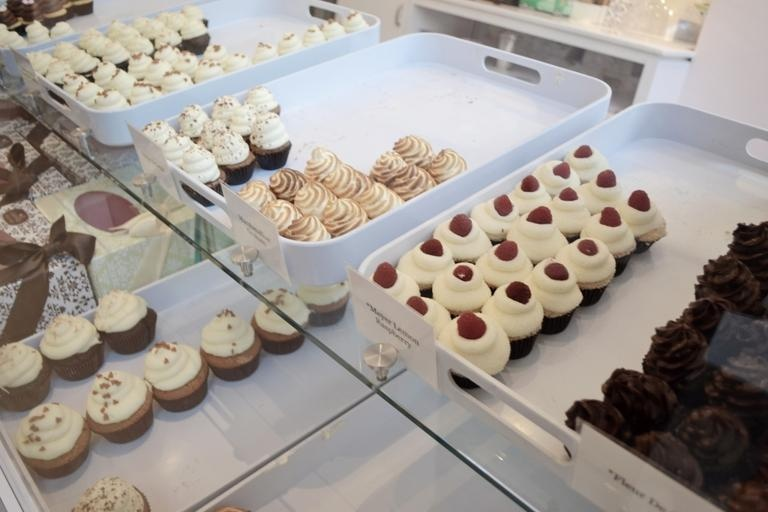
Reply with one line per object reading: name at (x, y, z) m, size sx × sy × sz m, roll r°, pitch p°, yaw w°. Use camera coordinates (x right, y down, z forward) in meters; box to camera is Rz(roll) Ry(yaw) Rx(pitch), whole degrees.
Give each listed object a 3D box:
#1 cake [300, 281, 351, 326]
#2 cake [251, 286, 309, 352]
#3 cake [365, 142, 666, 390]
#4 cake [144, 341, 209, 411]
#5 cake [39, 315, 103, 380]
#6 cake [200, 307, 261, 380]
cake at (-0.158, 0.140, 1.545) m, size 0.116 × 0.159 × 0.118 m, roll -3°, pitch 24°, yaw -2°
cake at (-0.310, 0.197, 1.635) m, size 0.138 × 0.141 × 0.151 m, roll 8°, pitch 40°, yaw 7°
cake at (0.489, 0.135, 1.845) m, size 1.009 × 0.374 × 0.563 m, roll -34°, pitch 49°, yaw -15°
cake at (-0.646, 0.378, 1.792) m, size 0.197 × 0.218 × 0.209 m, roll -2°, pitch 24°, yaw 1°
cake at (-1.030, 0.312, 1.773) m, size 0.114 × 0.140 × 0.126 m, roll 16°, pitch 39°, yaw 33°
cake at (-0.494, 0.289, 1.831) m, size 0.194 × 0.212 × 0.208 m, roll -4°, pitch 37°, yaw -4°
